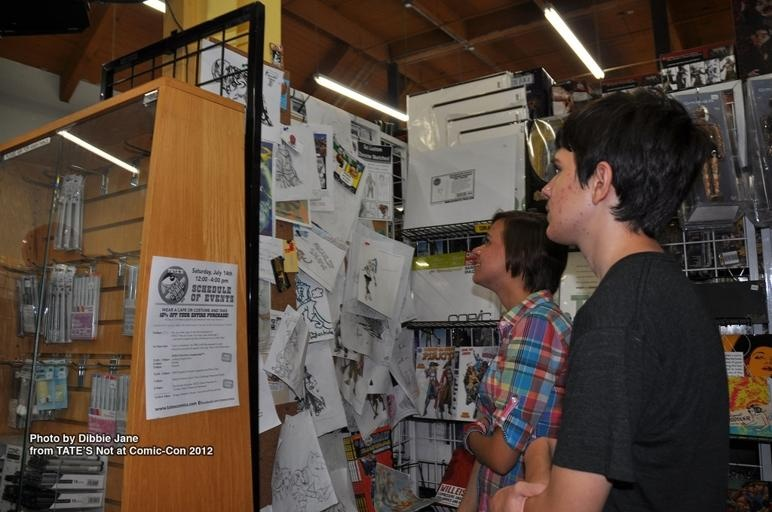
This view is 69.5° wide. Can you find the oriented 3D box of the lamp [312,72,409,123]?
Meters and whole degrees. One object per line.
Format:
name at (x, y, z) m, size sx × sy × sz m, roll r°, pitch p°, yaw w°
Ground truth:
lamp at (-0.379, -2.370, 8.173) m, size 0.459 × 0.383 × 1.518 m, roll -11°, pitch -13°, yaw 39°
